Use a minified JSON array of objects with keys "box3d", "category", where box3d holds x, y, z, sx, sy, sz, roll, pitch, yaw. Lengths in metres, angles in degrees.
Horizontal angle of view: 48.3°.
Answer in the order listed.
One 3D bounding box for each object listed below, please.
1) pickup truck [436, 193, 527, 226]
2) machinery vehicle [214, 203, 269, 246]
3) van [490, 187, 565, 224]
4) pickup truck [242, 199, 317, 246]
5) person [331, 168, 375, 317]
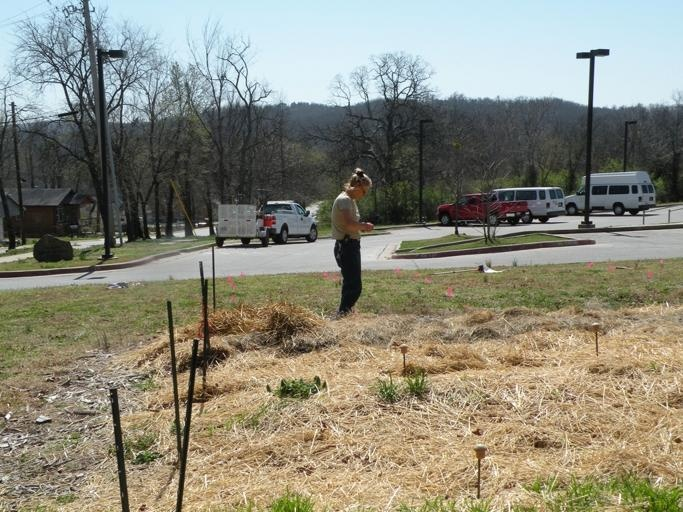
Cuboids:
[{"box3d":[6.174,-1.759,34.422,4.412,1.529,1.915,5,9,33],"category":"pickup truck"},{"box3d":[-3.639,-1.136,27.911,1.312,1.059,1.792,0,3,2],"category":"machinery vehicle"},{"box3d":[9.121,-2.518,34.848,3.480,1.603,2.143,5,9,33],"category":"van"},{"box3d":[-2.390,-1.209,29.156,1.340,1.087,2.589,3,8,28],"category":"pickup truck"},{"box3d":[0.172,-0.222,10.540,0.582,1.983,1.534,-4,4,0],"category":"person"}]
